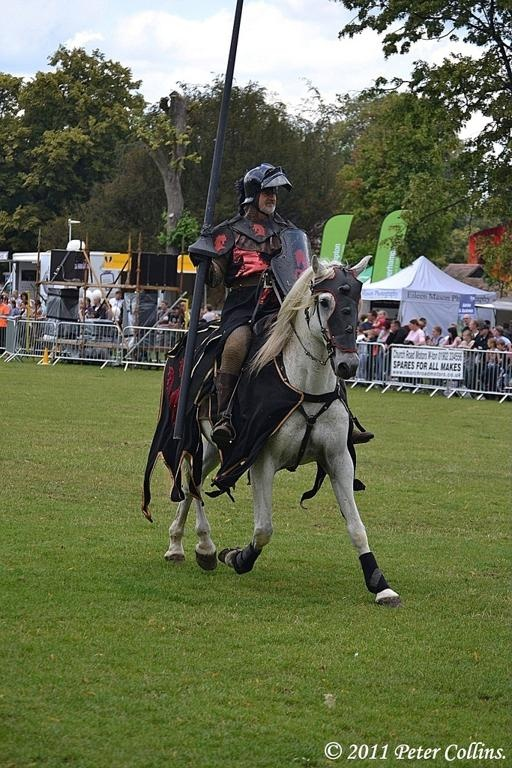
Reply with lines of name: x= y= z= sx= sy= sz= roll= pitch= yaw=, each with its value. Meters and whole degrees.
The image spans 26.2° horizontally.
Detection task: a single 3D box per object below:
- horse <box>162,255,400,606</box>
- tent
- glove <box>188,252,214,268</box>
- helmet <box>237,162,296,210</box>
horse: x=0.120 y=0.366 z=8.048 sx=0.929 sy=2.271 sz=3.031 roll=4 pitch=-3 yaw=-18
tent: x=4.641 y=-2.276 z=29.471 sx=2.997 sy=1.596 sz=2.809 roll=5 pitch=-3 yaw=-14
glove: x=-0.384 y=-0.864 z=7.708 sx=0.127 sy=0.083 sz=0.121 roll=1 pitch=-2 yaw=-9
helmet: x=0.035 y=-1.443 z=7.995 sx=0.411 sy=0.255 sz=0.276 roll=-20 pitch=-9 yaw=36
